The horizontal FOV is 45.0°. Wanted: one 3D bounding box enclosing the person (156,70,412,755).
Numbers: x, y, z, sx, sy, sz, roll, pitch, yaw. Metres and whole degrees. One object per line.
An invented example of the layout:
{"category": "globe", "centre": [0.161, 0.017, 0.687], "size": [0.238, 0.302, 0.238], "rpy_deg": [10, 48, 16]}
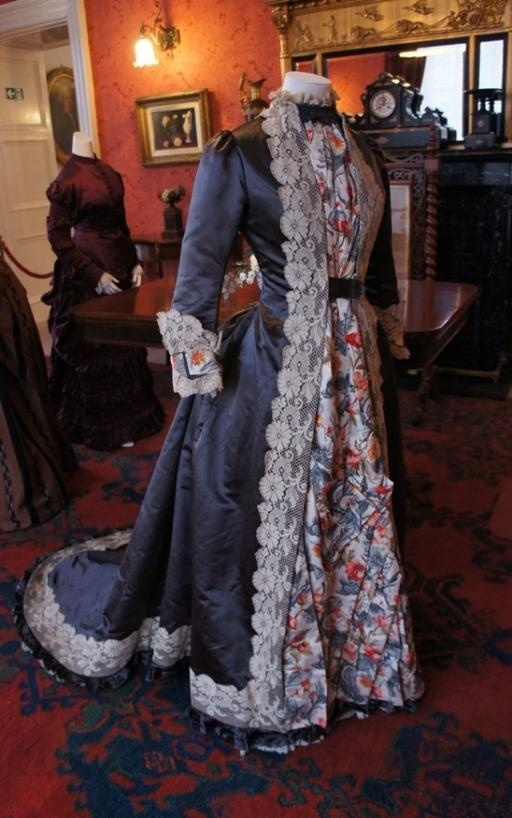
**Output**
{"category": "person", "centre": [0.103, 0.046, 1.179], "size": [0.488, 1.294, 0.192], "rpy_deg": [-9, 15, -24]}
